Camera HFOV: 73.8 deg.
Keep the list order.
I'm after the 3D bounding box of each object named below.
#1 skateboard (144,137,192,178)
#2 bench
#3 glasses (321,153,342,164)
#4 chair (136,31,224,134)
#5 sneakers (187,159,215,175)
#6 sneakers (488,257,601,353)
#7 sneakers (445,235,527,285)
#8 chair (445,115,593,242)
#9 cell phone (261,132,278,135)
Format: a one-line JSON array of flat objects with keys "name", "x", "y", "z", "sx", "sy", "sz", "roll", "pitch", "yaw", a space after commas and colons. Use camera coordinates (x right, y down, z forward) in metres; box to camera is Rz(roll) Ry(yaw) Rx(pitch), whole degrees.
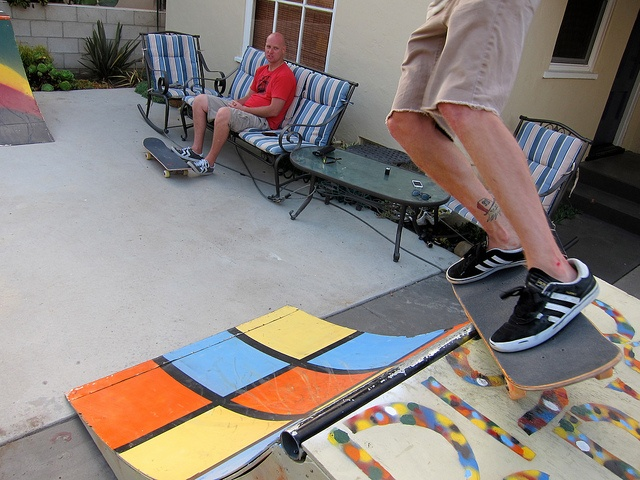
[{"name": "skateboard", "x": -1.915, "y": -1.049, "z": 5.171, "sx": 0.333, "sy": 0.183, "sz": 1.065, "roll": -15, "pitch": 44, "yaw": -40}, {"name": "bench", "x": -0.755, "y": -1.670, "z": 5.565, "sx": 2.048, "sy": 1.141, "sz": 1.248, "roll": 35, "pitch": 46, "yaw": 31}, {"name": "glasses", "x": 0.120, "y": -0.882, "z": 4.638, "sx": 0.152, "sy": 0.039, "sz": 0.157, "roll": -20, "pitch": 32, "yaw": -40}, {"name": "chair", "x": -2.025, "y": -2.373, "z": 6.384, "sx": 1.480, "sy": 1.238, "sz": 1.146, "roll": 23, "pitch": 30, "yaw": 29}, {"name": "sneakers", "x": -1.405, "y": -0.875, "z": 5.102, "sx": 0.142, "sy": 0.130, "sz": 0.311, "roll": 44, "pitch": 27, "yaw": 26}, {"name": "sneakers", "x": 0.759, "y": 0.232, "z": 1.549, "sx": 0.435, "sy": 0.202, "sz": 0.218, "roll": -33, "pitch": 30, "yaw": 2}, {"name": "sneakers", "x": 0.666, "y": 0.111, "z": 1.860, "sx": 0.391, "sy": 0.163, "sz": 0.124, "roll": -14, "pitch": 56, "yaw": 26}, {"name": "chair", "x": 2.203, "y": -0.665, "z": 4.544, "sx": 0.782, "sy": 0.973, "sz": 0.852, "roll": 22, "pitch": 59, "yaw": -2}, {"name": "cell phone", "x": -0.607, "y": -1.290, "z": 5.182, "sx": 0.180, "sy": 0.019, "sz": 0.116, "roll": -1, "pitch": 32, "yaw": -15}]
